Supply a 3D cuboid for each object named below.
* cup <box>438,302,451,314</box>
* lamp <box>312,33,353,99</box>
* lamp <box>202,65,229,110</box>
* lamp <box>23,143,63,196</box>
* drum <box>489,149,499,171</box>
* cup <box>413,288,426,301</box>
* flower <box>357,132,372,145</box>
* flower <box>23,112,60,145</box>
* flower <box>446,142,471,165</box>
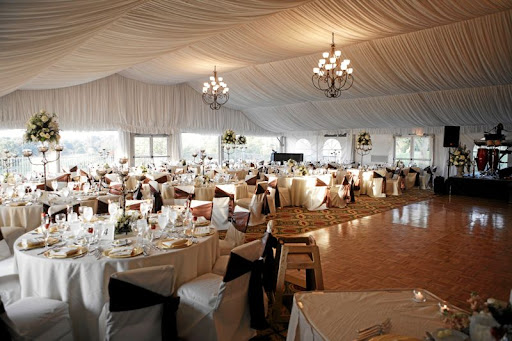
[{"bbox_3d":[1.640,1.197,2.913,0.084,0.091,0.075,0,6,-10],"label":"cup"},{"bbox_3d":[2.250,-3.141,9.780,1.068,1.969,1.066,-2,8,-4],"label":"lamp"},{"bbox_3d":[-1.809,-3.671,14.798,0.882,2.094,1.007,0,-4,-7],"label":"lamp"},{"bbox_3d":[-5.019,-0.017,7.874,0.824,1.459,0.257,-19,50,-44],"label":"lamp"},{"bbox_3d":[8.509,-0.360,11.908,0.285,0.832,1.542,0,1,36],"label":"drum"},{"bbox_3d":[1.514,1.153,3.087,0.086,0.078,0.076,5,-8,-39],"label":"cup"},{"bbox_3d":[4.448,-1.329,13.711,0.409,0.489,0.670,-1,1,30],"label":"flower"},{"bbox_3d":[-4.736,-0.929,7.393,0.642,0.684,0.645,-23,-11,35],"label":"flower"},{"bbox_3d":[7.660,-0.570,12.557,0.606,0.752,0.864,-1,1,44],"label":"flower"}]
